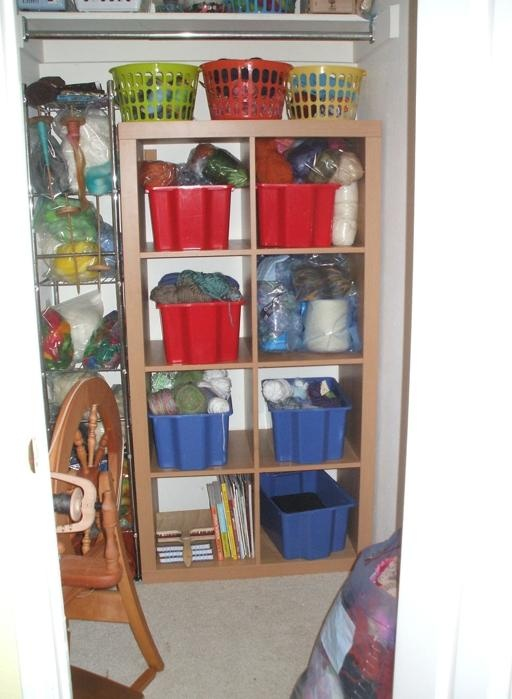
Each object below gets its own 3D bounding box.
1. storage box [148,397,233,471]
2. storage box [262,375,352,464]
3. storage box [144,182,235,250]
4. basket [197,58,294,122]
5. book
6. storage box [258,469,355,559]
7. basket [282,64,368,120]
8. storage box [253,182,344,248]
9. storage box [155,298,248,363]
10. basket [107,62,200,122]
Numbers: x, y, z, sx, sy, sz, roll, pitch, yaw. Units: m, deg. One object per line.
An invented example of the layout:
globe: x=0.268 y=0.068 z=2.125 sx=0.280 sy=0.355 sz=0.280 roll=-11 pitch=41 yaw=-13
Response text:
storage box: x=-0.213 y=0.283 z=2.031 sx=0.241 sy=0.162 sz=0.197 roll=-2 pitch=4 yaw=-8
storage box: x=0.173 y=0.242 z=2.049 sx=0.259 sy=0.193 sz=0.308 roll=-1 pitch=8 yaw=-4
storage box: x=-0.207 y=-0.417 z=1.840 sx=0.230 sy=0.153 sz=0.181 roll=-3 pitch=20 yaw=-5
basket: x=-0.019 y=-0.736 z=1.786 sx=0.210 sy=0.112 sz=0.221 roll=11 pitch=22 yaw=27
book: x=-0.183 y=0.627 z=2.178 sx=0.321 sy=0.319 sz=0.126 roll=-1 pitch=3 yaw=3
storage box: x=0.169 y=0.604 z=2.222 sx=0.233 sy=0.148 sz=0.320 roll=-2 pitch=5 yaw=-10
basket: x=0.245 y=-0.794 z=1.858 sx=0.197 sy=0.131 sz=0.211 roll=14 pitch=28 yaw=24
storage box: x=0.134 y=-0.430 z=1.901 sx=0.230 sy=0.161 sz=0.188 roll=-4 pitch=17 yaw=-7
storage box: x=-0.170 y=-0.069 z=1.908 sx=0.188 sy=0.156 sz=0.239 roll=-2 pitch=7 yaw=-7
basket: x=-0.339 y=-0.760 z=1.841 sx=0.282 sy=0.151 sz=0.293 roll=-9 pitch=11 yaw=-30
